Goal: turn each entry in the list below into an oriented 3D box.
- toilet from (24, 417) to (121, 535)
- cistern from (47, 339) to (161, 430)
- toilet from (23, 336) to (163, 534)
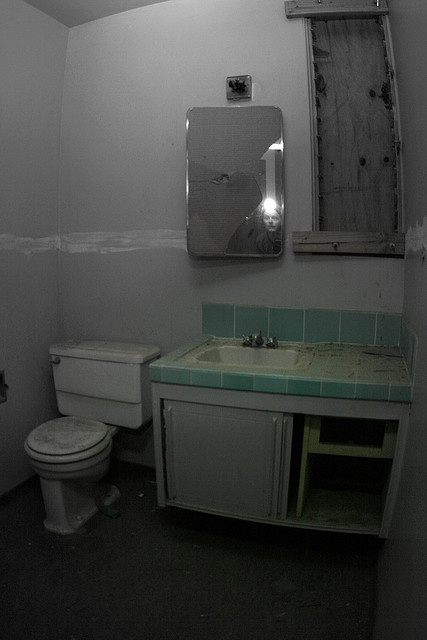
[{"bbox_3d":[-0.557,0.598,2.129,0.299,0.361,0.392,4,17,19],"label":"toilet"},{"bbox_3d":[-0.481,0.266,2.342,0.445,0.330,0.248,4,9,14],"label":"cistern"},{"bbox_3d":[-0.541,0.442,2.210,0.486,0.608,0.623,4,12,23],"label":"toilet"}]
